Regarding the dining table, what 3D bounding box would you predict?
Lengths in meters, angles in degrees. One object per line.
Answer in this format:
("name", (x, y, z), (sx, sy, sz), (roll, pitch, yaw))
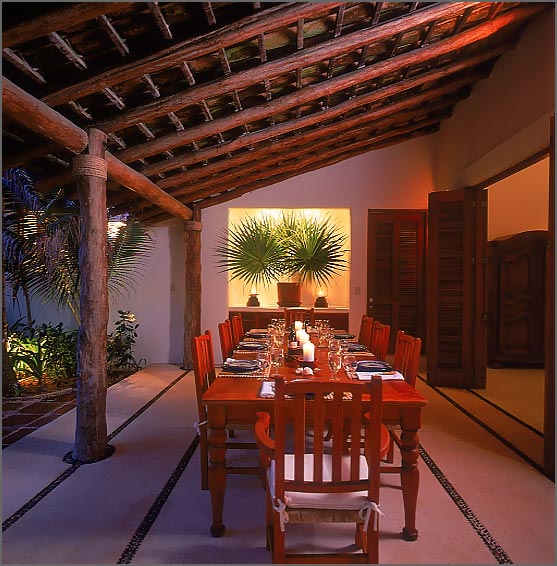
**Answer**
("dining table", (0.173, 0.661, 2.296), (0.895, 0.513, 1.245), (0, -1, 1))
